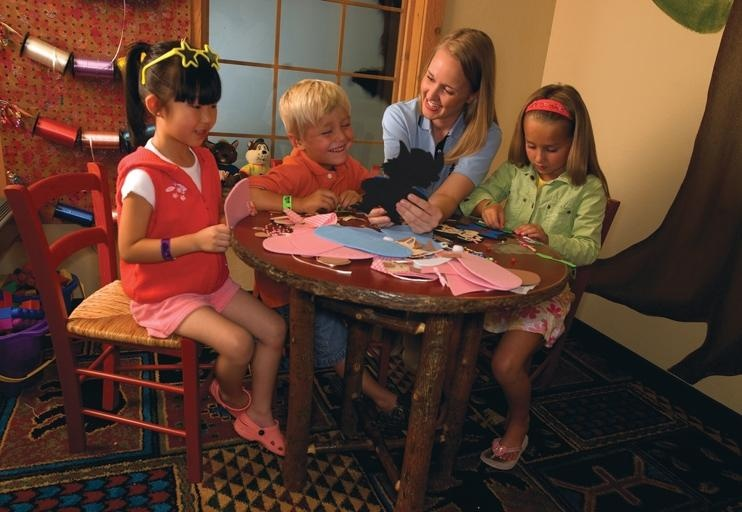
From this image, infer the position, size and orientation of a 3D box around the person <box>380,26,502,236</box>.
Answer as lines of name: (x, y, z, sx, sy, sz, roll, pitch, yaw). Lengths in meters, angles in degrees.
person: (0.324, -0.629, 2.430, 0.442, 0.802, 0.480, 22, 28, 39)

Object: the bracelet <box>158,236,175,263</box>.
bracelet: (-0.778, -0.026, 1.974, 0.024, 0.068, 0.059, -7, 9, -5)

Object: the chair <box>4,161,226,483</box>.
chair: (-0.882, 0.051, 2.818, 1.195, 1.921, 1.168, 4, 21, -6)

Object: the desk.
desk: (0.171, 0.446, 2.376, 1.220, 0.893, 1.234, 32, 41, 33)

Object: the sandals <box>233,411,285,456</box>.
sandals: (-0.456, 0.759, 2.257, 0.262, 0.112, 0.138, 32, 9, -9)
